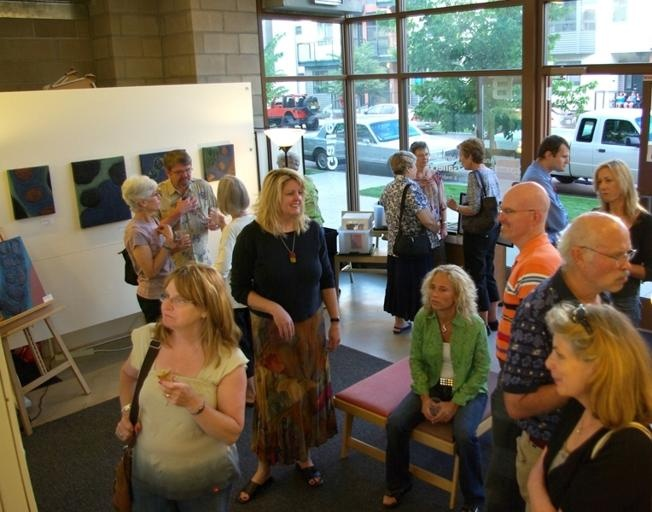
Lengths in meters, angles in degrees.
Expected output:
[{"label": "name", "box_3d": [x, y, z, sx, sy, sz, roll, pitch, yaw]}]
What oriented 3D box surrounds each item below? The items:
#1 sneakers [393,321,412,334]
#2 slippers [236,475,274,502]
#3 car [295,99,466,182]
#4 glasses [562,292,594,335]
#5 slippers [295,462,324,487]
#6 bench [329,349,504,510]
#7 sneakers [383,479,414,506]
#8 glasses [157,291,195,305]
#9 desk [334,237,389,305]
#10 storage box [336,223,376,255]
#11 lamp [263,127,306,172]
[{"label": "sneakers", "box_3d": [0.864, 0.787, 5.784, 0.239, 0.099, 0.090, -18, 21, -41]}, {"label": "slippers", "box_3d": [-0.491, 1.564, 3.404, 0.080, 0.066, 0.237, 4, 11, 35]}, {"label": "car", "box_3d": [0.681, -1.628, 7.136, 2.232, 0.784, 0.969, 11, 23, 37]}, {"label": "glasses", "box_3d": [0.825, 0.192, 1.660, 0.031, 0.081, 0.059, -15, -15, -29]}, {"label": "slippers", "box_3d": [-0.107, 1.506, 3.523, 0.077, 0.066, 0.211, -6, 3, -26]}, {"label": "bench", "box_3d": [0.614, 1.090, 3.637, 0.763, 0.434, 0.914, 7, 21, 37]}, {"label": "sneakers", "box_3d": [0.447, 1.527, 3.268, 0.087, 0.065, 0.232, 8, 16, 34]}, {"label": "glasses", "box_3d": [-0.643, 0.180, 2.160, 0.178, 0.047, 0.047, 5, 18, 23]}, {"label": "desk", "box_3d": [0.476, 0.096, 6.857, 0.933, 0.479, 0.651, 2, 24, 8]}, {"label": "storage box", "box_3d": [0.365, -0.217, 6.428, 0.341, 0.262, 0.353, 0, 6, 8]}, {"label": "lamp", "box_3d": [-0.467, -1.179, 5.914, 0.550, 0.676, 0.570, -1, 10, -4]}]
